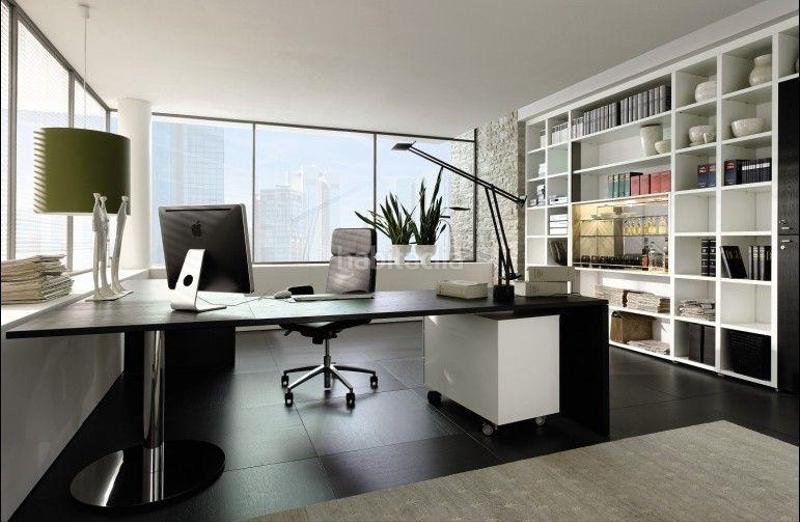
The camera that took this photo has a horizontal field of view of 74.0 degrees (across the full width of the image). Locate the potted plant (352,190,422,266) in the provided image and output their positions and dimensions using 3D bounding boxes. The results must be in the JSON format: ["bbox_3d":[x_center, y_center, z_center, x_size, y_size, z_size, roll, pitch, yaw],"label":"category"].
[{"bbox_3d":[-0.028,-0.559,8.017,0.860,1.033,1.099,-1,2,18],"label":"potted plant"}]

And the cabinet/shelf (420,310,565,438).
[{"bbox_3d":[0.713,0.801,4.496,0.782,1.113,1.505,0,-1,-24],"label":"cabinet/shelf"}]

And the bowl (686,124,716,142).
[{"bbox_3d":[3.067,-1.287,5.364,0.203,0.132,0.206,-2,1,0],"label":"bowl"}]

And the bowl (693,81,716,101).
[{"bbox_3d":[3.085,-1.716,5.388,0.204,0.170,0.220,-1,-1,0],"label":"bowl"}]

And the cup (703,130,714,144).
[{"bbox_3d":[3.114,-1.245,5.311,0.112,0.105,0.107,0,3,0],"label":"cup"}]

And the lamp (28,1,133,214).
[{"bbox_3d":[-2.369,-0.736,3.967,0.718,1.706,0.678,0,1,-19],"label":"lamp"}]

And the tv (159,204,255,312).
[{"bbox_3d":[-1.344,-0.015,3.682,0.765,0.712,0.281,0,5,19],"label":"tv"}]

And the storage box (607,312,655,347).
[{"bbox_3d":[2.709,0.788,6.211,0.402,0.353,0.337,0,1,-13],"label":"storage box"}]

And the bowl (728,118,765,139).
[{"bbox_3d":[3.304,-1.262,5.007,0.233,0.151,0.234,-1,-4,0],"label":"bowl"}]

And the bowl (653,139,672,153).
[{"bbox_3d":[2.838,-1.217,5.703,0.146,0.102,0.143,-2,0,0],"label":"bowl"}]

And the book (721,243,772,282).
[{"bbox_3d":[3.312,0.021,5.032,0.402,0.388,0.294,0,1,-8],"label":"book"}]
